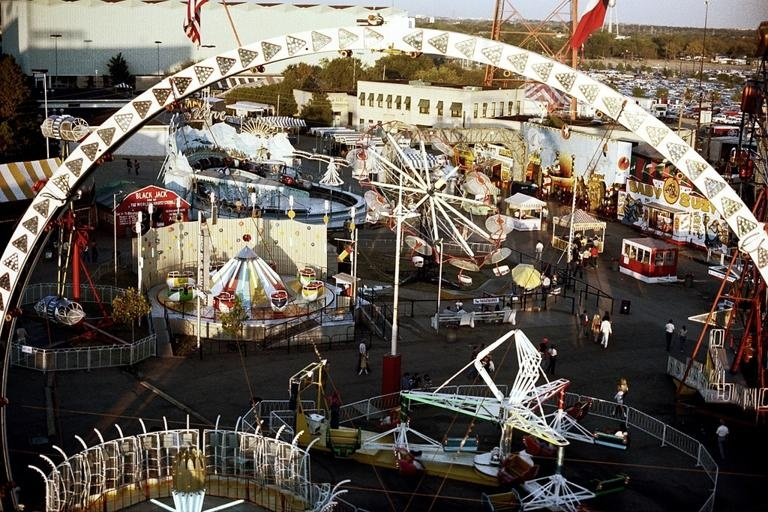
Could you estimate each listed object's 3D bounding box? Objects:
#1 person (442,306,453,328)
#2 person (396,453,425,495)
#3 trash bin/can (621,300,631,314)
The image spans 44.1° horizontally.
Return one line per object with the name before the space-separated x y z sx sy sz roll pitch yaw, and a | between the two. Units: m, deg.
person | 3.260 3.060 47.809 0.484 0.887 0.336 2 -24 5
person | 0.946 8.198 36.021 0.956 1.299 0.542 13 -39 -40
trash bin/can | 12.889 2.788 50.252 0.606 0.878 0.458 0 -7 1
